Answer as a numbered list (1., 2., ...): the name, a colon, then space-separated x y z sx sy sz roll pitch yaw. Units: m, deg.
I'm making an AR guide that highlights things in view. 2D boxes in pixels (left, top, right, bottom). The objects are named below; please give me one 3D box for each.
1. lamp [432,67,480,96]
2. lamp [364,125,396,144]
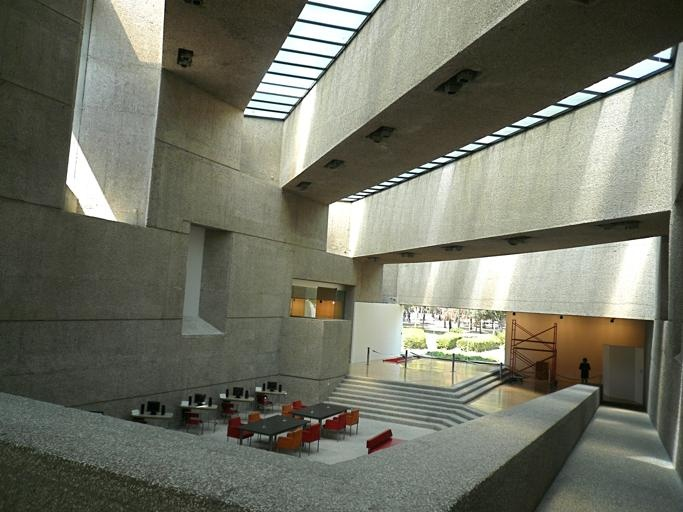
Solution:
1. lamp: 2.524 -3.748 10.760 0.395 0.107 0.547 10 -16 -25
2. lamp: 1.135 -3.295 13.657 0.299 0.114 0.587 10 -16 -21
